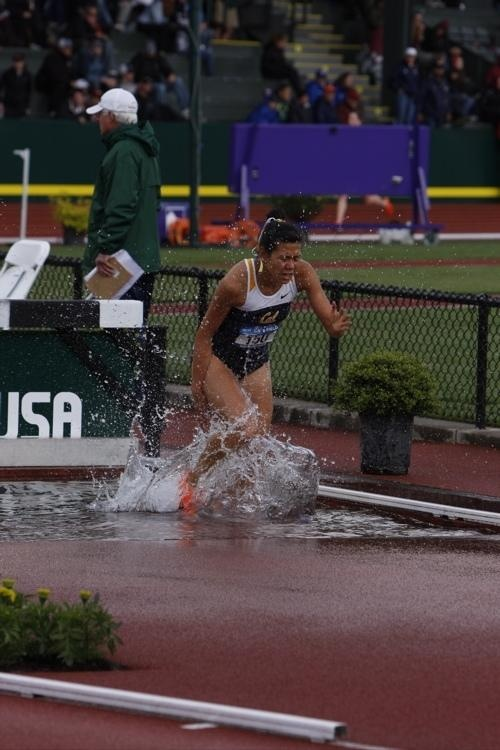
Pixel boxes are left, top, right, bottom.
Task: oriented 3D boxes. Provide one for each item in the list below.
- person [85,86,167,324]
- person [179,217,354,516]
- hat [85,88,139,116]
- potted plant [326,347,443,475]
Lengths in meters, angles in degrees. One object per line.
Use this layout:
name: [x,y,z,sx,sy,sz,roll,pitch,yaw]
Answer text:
person: [-0.956,-1.237,7.764,0.562,1.731,0.744,0,16,-9]
person: [0.031,-0.029,5.812,0.640,1.716,0.796,-9,20,-36]
hat: [-1.052,-2.084,7.813,0.351,0.185,0.238,7,16,12]
potted plant: [0.896,0.258,7.135,0.747,0.846,0.820,0,-1,43]
